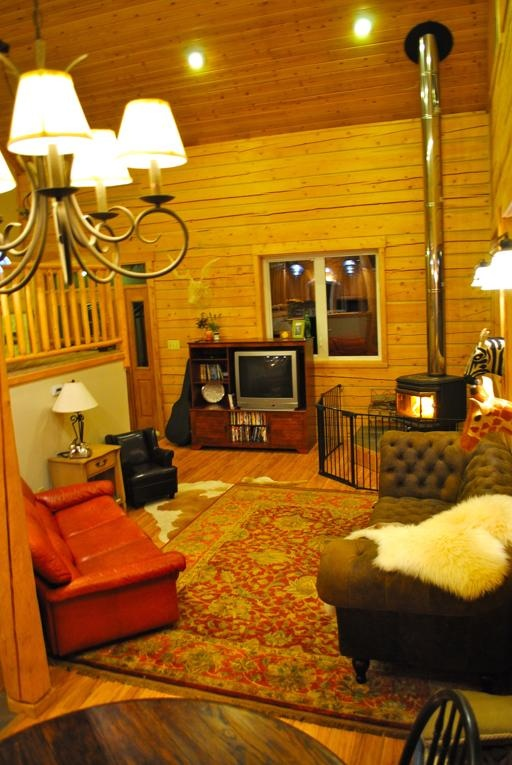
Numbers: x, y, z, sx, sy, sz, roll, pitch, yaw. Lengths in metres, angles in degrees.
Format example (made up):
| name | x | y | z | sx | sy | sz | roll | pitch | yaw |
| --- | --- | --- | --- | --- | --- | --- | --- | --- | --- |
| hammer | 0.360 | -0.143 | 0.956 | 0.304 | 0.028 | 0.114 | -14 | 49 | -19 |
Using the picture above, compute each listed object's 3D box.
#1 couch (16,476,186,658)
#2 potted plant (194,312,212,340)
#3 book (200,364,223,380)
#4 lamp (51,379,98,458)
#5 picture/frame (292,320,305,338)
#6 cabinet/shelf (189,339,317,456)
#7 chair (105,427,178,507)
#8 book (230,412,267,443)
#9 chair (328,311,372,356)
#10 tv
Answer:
| name | x | y | z | sx | sy | sz | roll | pitch | yaw |
| --- | --- | --- | --- | --- | --- | --- | --- | --- | --- |
| couch | -0.964 | 0.736 | 3.551 | 0.880 | 0.880 | 1.676 | -7 | 14 | -23 |
| potted plant | -0.724 | -0.787 | 7.886 | 0.210 | 0.366 | 0.471 | -5 | 8 | -6 |
| book | -0.600 | -0.114 | 7.732 | 0.291 | 0.279 | 0.216 | 0 | 1 | 13 |
| lamp | -1.663 | 0.315 | 5.202 | 0.362 | 0.658 | 0.659 | -7 | 9 | -20 |
| picture/frame | 0.546 | -0.693 | 7.410 | 0.217 | 0.288 | 0.098 | 6 | 14 | 36 |
| cabinet/shelf | 0.009 | 0.227 | 7.366 | 1.509 | 1.403 | 0.538 | 1 | 4 | 19 |
| chair | -1.095 | 0.823 | 5.933 | 0.698 | 0.815 | 0.711 | -8 | 6 | -40 |
| book | -0.088 | 0.572 | 7.419 | 0.385 | 0.352 | 0.152 | 2 | 10 | 18 |
| chair | 1.255 | -0.644 | 7.534 | 0.572 | 0.526 | 0.311 | 2 | 9 | 26 |
| tv | 0.162 | -0.037 | 7.217 | 0.702 | 0.650 | 0.388 | 4 | 15 | 22 |
